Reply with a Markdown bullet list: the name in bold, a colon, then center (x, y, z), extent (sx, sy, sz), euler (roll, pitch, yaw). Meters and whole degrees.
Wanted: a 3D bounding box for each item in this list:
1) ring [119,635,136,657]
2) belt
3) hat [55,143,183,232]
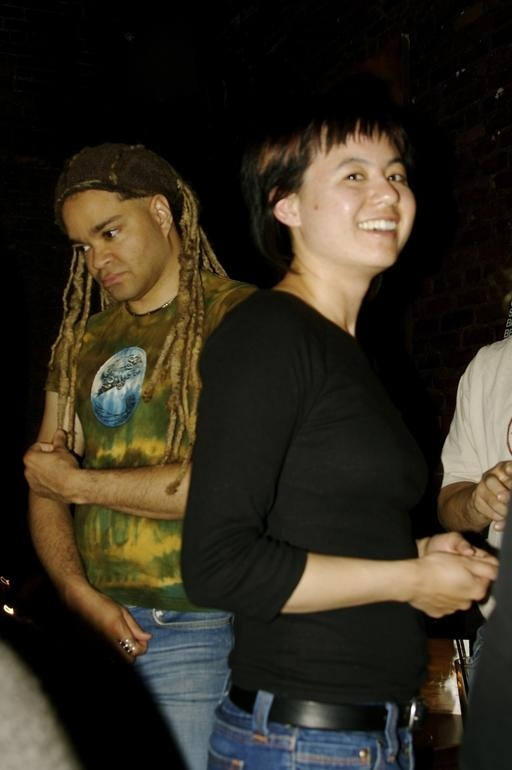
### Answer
- **ring**: center (-0.232, 0.475, 1.252), extent (0.030, 0.032, 0.025), euler (-13, -17, -31)
- **belt**: center (0.079, 0.408, 0.864), extent (0.125, 0.026, 0.109), euler (9, -12, -8)
- **hat**: center (-0.312, -0.484, 1.644), extent (0.258, 0.137, 0.238), euler (11, -13, -17)
